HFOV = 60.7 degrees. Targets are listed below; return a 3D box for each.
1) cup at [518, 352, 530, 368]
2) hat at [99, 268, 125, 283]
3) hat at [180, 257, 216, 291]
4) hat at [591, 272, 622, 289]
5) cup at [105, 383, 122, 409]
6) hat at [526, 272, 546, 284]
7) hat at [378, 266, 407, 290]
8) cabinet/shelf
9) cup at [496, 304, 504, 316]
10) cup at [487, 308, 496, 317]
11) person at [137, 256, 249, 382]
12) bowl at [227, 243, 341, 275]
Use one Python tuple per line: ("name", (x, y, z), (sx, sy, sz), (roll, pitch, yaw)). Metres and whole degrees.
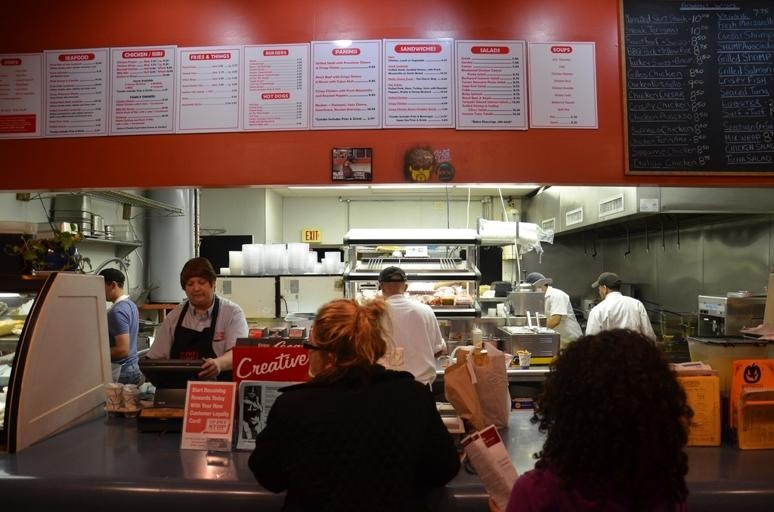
("cup", (1.107, 0.869, 5.454), (0.109, 0.110, 0.105), (0, -3, 0))
("hat", (-2.347, 0.164, 5.591), (0.208, 0.112, 0.143), (8, 0, -8))
("hat", (-1.366, 0.122, 4.737), (0.196, 0.223, 0.247), (-1, 6, -3))
("hat", (2.159, 0.246, 6.580), (0.241, 0.183, 0.333), (-2, 5, -32))
("cup", (-1.800, 0.917, 4.289), (0.145, 0.170, 0.076), (-1, -6, 18))
("hat", (1.629, 0.258, 7.343), (0.194, 0.067, 0.169), (-20, 1, 39))
("hat", (0.036, 0.175, 5.280), (0.243, 0.163, 0.310), (0, 7, -1))
("cabinet/shelf", (0.227, 0.141, 5.842), (1.145, 0.692, 0.708), (0, 0, 4))
("cup", (1.133, 0.547, 6.600), (0.103, 0.167, 0.101), (-2, 0, 0))
("cup", (1.077, 0.589, 6.812), (0.098, 0.066, 0.074), (-1, -1, -4))
("person", (-1.539, 0.498, 5.239), (0.939, 1.365, 0.795), (-1, -17, -9))
("bowl", (-1.020, 0.035, 6.608), (1.135, 0.331, 0.272), (1, -6, -8))
